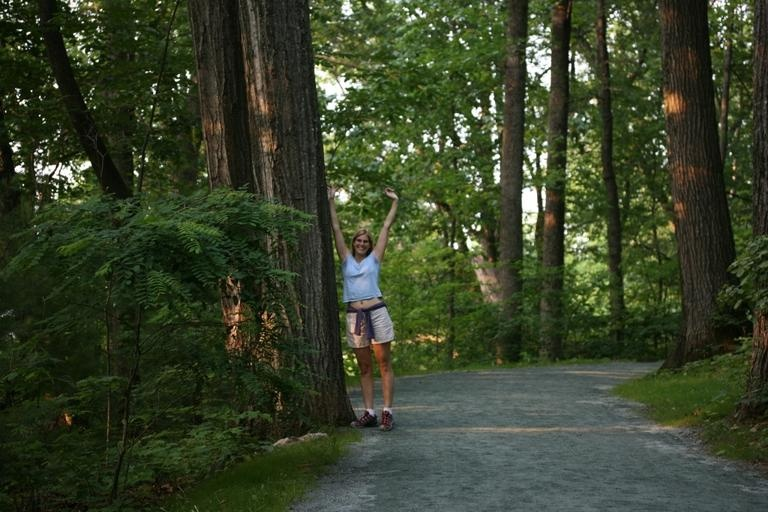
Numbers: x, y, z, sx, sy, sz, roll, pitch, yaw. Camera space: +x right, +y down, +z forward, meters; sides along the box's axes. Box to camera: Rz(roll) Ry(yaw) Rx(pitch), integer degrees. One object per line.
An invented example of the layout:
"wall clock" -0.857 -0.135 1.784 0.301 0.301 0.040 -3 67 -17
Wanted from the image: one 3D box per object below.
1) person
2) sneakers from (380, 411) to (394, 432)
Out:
"person" -0.278 0.818 13.335 0.936 3.483 1.338 0 9 0
"sneakers" 0.070 2.341 13.062 0.200 0.287 0.364 1 8 2
